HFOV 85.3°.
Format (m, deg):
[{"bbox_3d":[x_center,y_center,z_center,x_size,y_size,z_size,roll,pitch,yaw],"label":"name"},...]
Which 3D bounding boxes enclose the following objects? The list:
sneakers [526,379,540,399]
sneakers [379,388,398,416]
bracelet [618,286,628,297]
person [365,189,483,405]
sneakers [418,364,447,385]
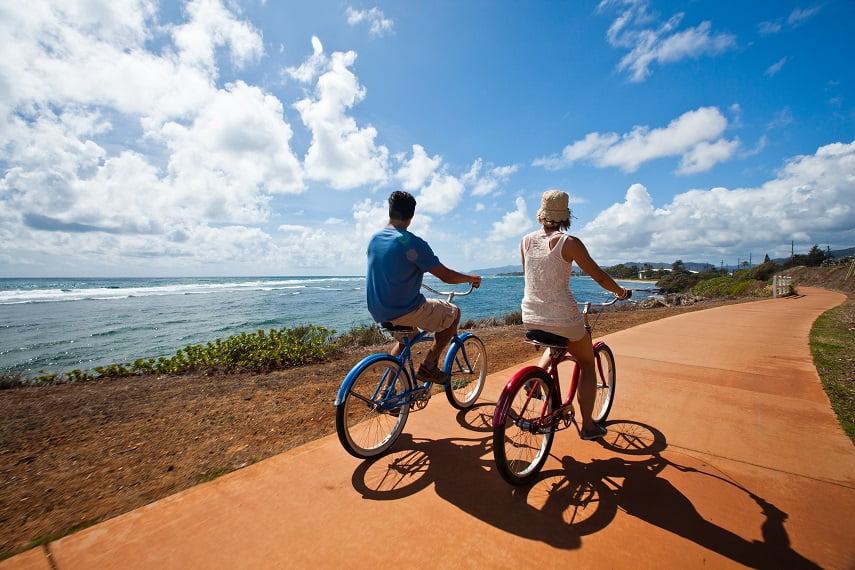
[{"bbox_3d":[1.324,1.288,5.727,0.181,0.249,0.077,9,-36,-45],"label":"sneakers"},{"bbox_3d":[-0.507,1.546,6.151,0.243,0.341,0.099,-5,1,-41],"label":"sneakers"},{"bbox_3d":[2.558,0.083,6.004,0.133,0.066,0.169,16,11,30],"label":"bracelet"},{"bbox_3d":[-0.168,0.074,6.423,1.290,2.707,0.553,-3,6,-9],"label":"person"},{"bbox_3d":[0.063,1.252,6.503,0.460,0.214,0.182,1,15,-9],"label":"sneakers"}]
